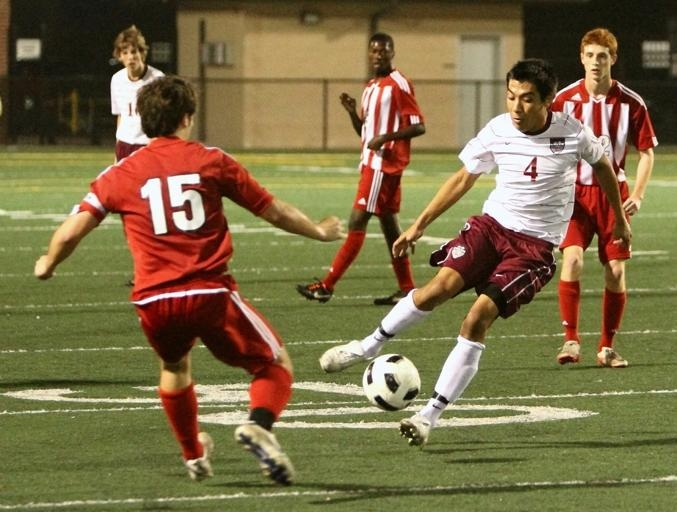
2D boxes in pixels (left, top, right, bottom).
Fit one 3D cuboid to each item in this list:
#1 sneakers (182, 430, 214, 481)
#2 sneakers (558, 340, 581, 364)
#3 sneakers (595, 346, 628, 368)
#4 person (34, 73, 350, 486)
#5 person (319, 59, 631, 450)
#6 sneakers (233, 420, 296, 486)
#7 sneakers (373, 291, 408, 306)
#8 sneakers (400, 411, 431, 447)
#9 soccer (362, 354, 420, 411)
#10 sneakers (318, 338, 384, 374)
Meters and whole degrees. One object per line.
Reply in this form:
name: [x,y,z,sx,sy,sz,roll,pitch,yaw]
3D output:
sneakers: [-0.799,1.128,7.321,0.126,0.134,0.336,1,30,0]
sneakers: [1.675,0.699,9.429,0.101,0.118,0.260,0,19,18]
sneakers: [2.000,0.751,9.546,0.120,0.091,0.231,-1,-5,-14]
person: [-0.845,0.100,7.345,1.250,2.211,0.722,5,13,19]
person: [0.897,-0.169,8.195,1.575,2.119,1.041,-6,14,-31]
sneakers: [-0.417,1.026,6.964,0.160,0.188,0.399,14,20,-5]
sneakers: [0.460,0.380,11.595,0.362,0.136,0.116,-1,7,10]
sneakers: [0.449,1.038,7.632,0.173,0.189,0.164,4,12,17]
soccer: [0.319,0.799,8.150,0.372,0.322,0.348,-2,-2,7]
sneakers: [0.067,0.657,8.472,0.351,0.129,0.170,-11,18,-10]
